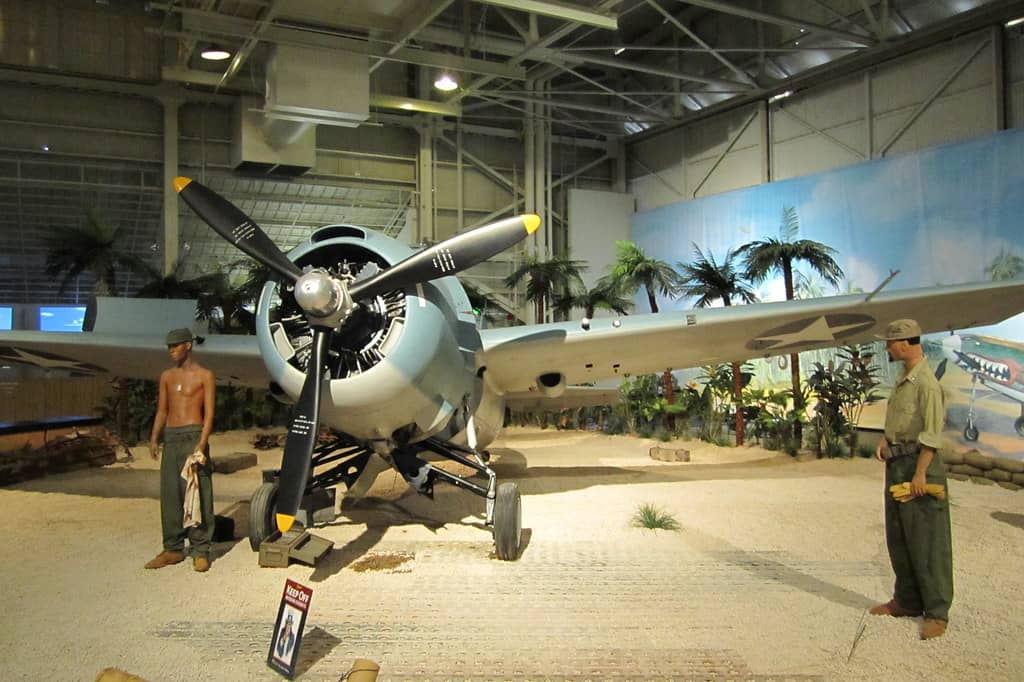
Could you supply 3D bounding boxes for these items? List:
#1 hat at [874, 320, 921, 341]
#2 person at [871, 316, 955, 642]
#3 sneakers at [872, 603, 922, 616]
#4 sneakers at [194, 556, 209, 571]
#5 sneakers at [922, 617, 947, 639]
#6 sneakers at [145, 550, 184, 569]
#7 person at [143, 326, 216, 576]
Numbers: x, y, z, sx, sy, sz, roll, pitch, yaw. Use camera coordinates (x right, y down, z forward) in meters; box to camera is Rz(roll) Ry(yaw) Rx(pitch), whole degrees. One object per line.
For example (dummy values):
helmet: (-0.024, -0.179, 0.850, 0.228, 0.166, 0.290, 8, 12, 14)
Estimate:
hat: (3.911, -0.115, 6.886, 0.393, 0.150, 0.281, 2, 0, 18)
person: (3.773, 1.230, 6.353, 0.609, 2.787, 0.899, -1, 10, -6)
sneakers: (3.629, 2.519, 6.452, 0.412, 0.148, 0.146, -5, -11, 16)
sneakers: (-3.383, 2.393, 7.389, 0.160, 0.137, 0.106, 0, 9, 1)
sneakers: (3.830, 2.587, 6.178, 0.144, 0.260, 0.108, -12, 37, 3)
sneakers: (-3.849, 2.384, 7.562, 0.411, 0.268, 0.147, 8, -2, -34)
person: (-3.682, 1.177, 7.523, 0.748, 2.575, 0.884, -2, 10, -9)
